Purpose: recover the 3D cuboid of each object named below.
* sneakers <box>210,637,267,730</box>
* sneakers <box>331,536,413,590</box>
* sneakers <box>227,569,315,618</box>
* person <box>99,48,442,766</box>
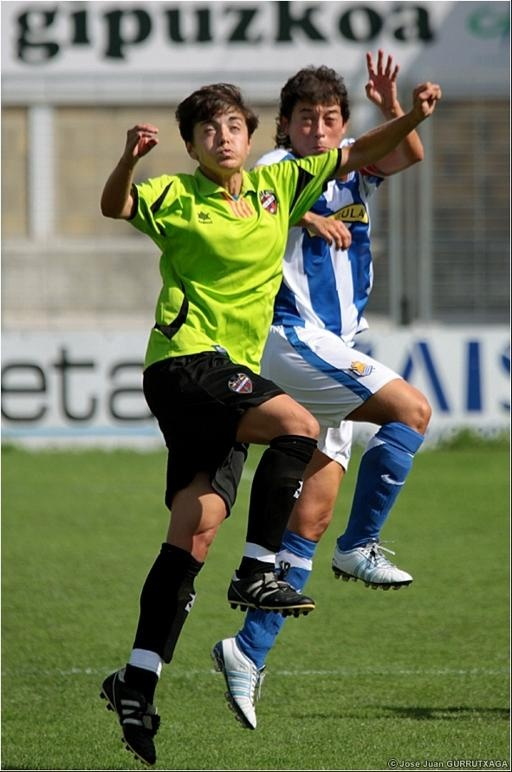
[{"bbox_3d":[-0.044,0.963,3.875,0.168,0.302,0.113,-19,-23,-8],"label":"sneakers"},{"bbox_3d":[0.394,0.619,4.130,0.351,0.152,0.129,2,11,34],"label":"sneakers"},{"bbox_3d":[0.033,0.606,3.471,0.307,0.121,0.109,-2,-8,28],"label":"sneakers"},{"bbox_3d":[-0.093,0.110,3.507,0.762,2.021,0.611,6,7,-8],"label":"person"}]
